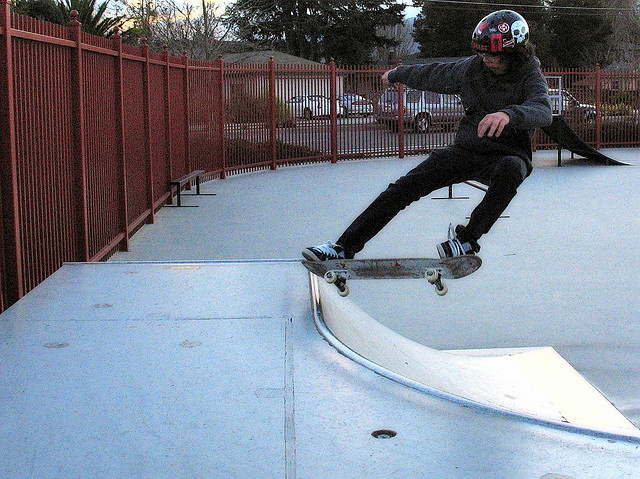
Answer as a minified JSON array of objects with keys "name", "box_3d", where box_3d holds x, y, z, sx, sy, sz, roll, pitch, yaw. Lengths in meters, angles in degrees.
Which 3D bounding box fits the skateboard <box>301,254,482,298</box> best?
[{"name":"skateboard","box_3d":[0.573,0.224,4.484,1.635,0.449,0.252,0,51,5]}]

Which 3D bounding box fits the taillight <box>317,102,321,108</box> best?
[{"name":"taillight","box_3d":[-0.017,-4.068,17.928,0.051,0.186,0.026,1,18,-31]}]

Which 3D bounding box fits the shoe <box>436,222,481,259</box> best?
[{"name":"shoe","box_3d":[1.094,0.044,4.578,0.316,0.171,0.391,-2,19,27]}]

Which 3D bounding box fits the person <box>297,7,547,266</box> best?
[{"name":"person","box_3d":[1.064,-0.808,4.633,1.282,1.953,1.099,9,13,21]}]

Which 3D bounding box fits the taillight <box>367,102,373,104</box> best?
[{"name":"taillight","box_3d":[1.614,-4.351,18.933,0.028,0.052,0.268,13,16,37]}]

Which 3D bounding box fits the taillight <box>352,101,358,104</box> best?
[{"name":"taillight","box_3d":[1.123,-4.312,18.719,0.158,0.067,0.028,5,13,5]}]

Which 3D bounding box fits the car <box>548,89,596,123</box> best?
[{"name":"car","box_3d":[8.543,-4.563,20.205,1.300,1.083,3.649,11,14,29]}]

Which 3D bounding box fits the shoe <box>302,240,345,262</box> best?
[{"name":"shoe","box_3d":[0.047,0.102,4.677,0.369,0.152,0.128,2,-2,-21]}]
